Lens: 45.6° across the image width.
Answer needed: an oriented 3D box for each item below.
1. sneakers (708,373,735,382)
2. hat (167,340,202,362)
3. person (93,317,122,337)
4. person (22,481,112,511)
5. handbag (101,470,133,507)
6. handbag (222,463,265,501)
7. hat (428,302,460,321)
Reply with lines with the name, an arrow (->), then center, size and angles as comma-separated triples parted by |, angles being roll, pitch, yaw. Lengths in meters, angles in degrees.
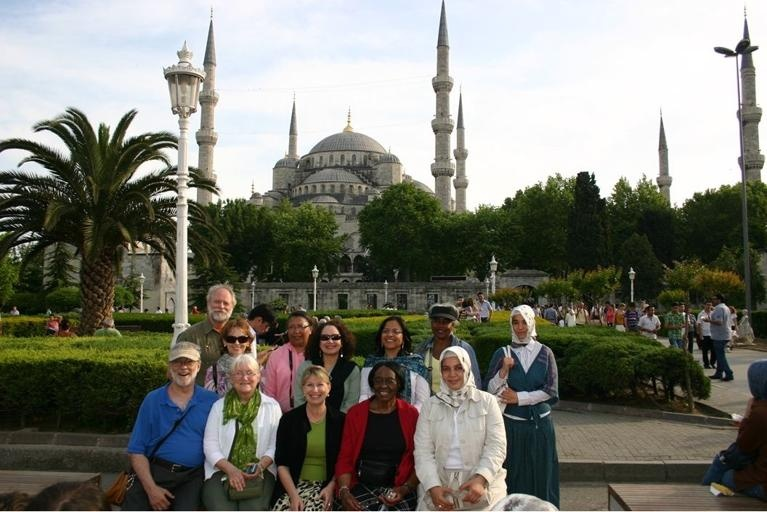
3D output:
sneakers -> 9.086, 3.281, 24.588 | 0.590, 0.244, 0.200 | 3, -5, 25
hat -> -3.598, 1.756, 16.736 | 0.578, 0.353, 0.332 | 2, -4, -26
person -> -7.276, 1.954, 24.232 | 0.685, 0.694, 0.702 | 7, -7, -38
person -> -5.481, 4.248, 15.971 | 1.374, 0.479, 0.362 | 1, -4, -20
handbag -> -4.863, 4.317, 16.770 | 0.344, 0.704, 0.739 | 17, -9, -2
handbag -> -2.359, 4.112, 16.463 | 0.701, 0.662, 0.307 | -11, -10, 20
hat -> 1.138, 1.070, 17.241 | 0.537, 0.314, 0.355 | 0, -4, -1
